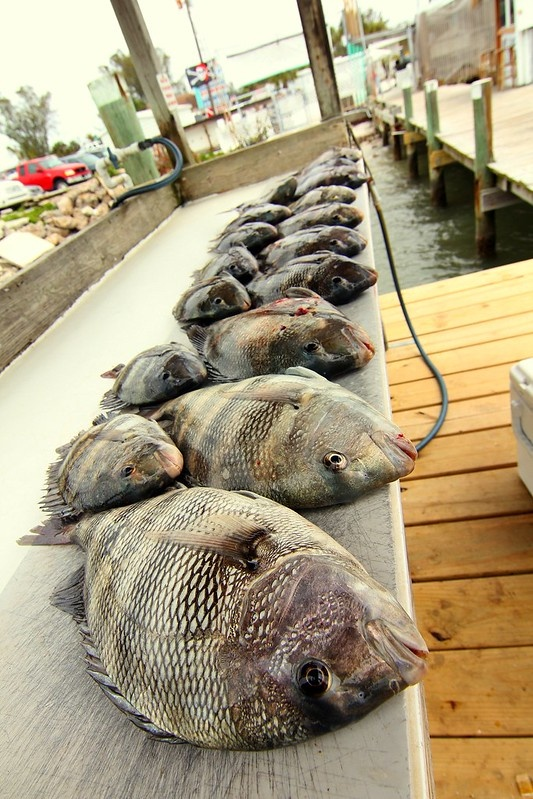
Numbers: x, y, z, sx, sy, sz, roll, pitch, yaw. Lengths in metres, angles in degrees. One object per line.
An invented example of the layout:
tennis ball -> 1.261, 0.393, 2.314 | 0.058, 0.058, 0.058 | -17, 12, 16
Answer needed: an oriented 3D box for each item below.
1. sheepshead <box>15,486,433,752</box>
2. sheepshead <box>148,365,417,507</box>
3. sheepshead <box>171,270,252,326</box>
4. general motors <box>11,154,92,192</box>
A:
sheepshead -> -0.032, 0.365, 1.027 | 0.681, 0.265, 0.422 | 7, 32, 45
sheepshead -> 0.015, 0.087, 1.428 | 0.468, 0.147, 0.380 | 14, 29, 43
sheepshead -> -0.235, -0.387, 2.414 | 0.397, 0.178, 0.199 | -14, -13, 31
general motors -> -5.406, -5.698, 14.812 | 1.666, 0.824, 1.132 | -27, 28, -11
